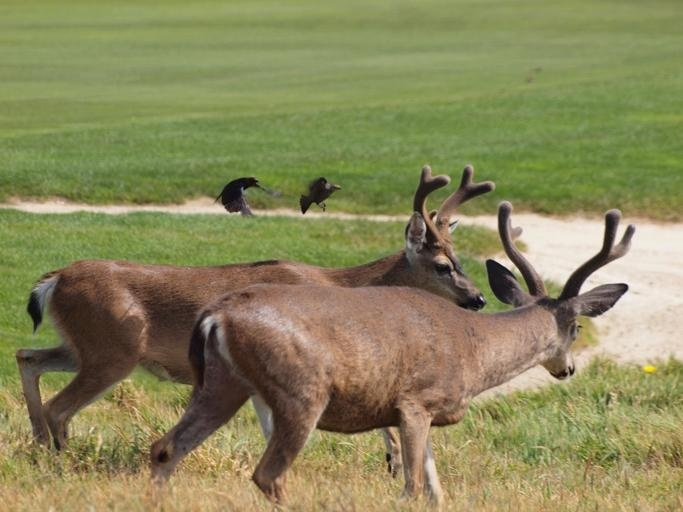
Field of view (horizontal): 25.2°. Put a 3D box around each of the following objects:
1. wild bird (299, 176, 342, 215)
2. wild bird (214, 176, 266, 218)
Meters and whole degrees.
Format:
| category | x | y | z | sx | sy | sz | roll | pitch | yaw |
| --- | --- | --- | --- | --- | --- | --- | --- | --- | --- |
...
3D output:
| category | x | y | z | sx | sy | sz | roll | pitch | yaw |
| --- | --- | --- | --- | --- | --- | --- | --- | --- | --- |
| wild bird | -0.379 | -1.211 | 29.643 | 0.828 | 0.569 | 0.500 | -13 | 3 | 4 |
| wild bird | -2.036 | -1.207 | 29.479 | 1.113 | 0.679 | 1.737 | -4 | -8 | -1 |
